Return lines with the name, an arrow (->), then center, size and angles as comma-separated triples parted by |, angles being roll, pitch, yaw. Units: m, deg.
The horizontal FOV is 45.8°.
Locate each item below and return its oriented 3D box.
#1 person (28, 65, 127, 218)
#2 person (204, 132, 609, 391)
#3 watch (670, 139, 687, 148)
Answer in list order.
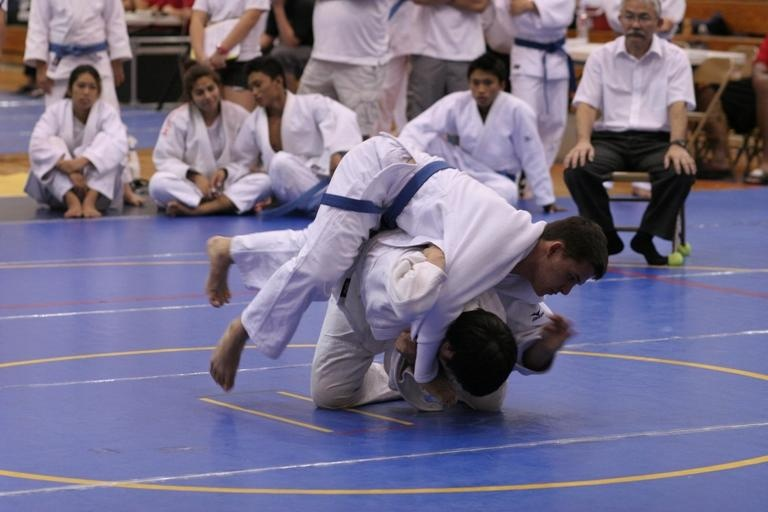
person -> -2.519, -0.947, 7.470 | 0.798, 1.205, 0.642 | -2, 14, -21
person -> 0.088, 0.064, 3.883 | 1.658, 1.007, 0.886 | 7, 2, 17
watch -> 1.921, -0.734, 5.948 | 0.087, 0.082, 0.088 | 5, 14, 2
